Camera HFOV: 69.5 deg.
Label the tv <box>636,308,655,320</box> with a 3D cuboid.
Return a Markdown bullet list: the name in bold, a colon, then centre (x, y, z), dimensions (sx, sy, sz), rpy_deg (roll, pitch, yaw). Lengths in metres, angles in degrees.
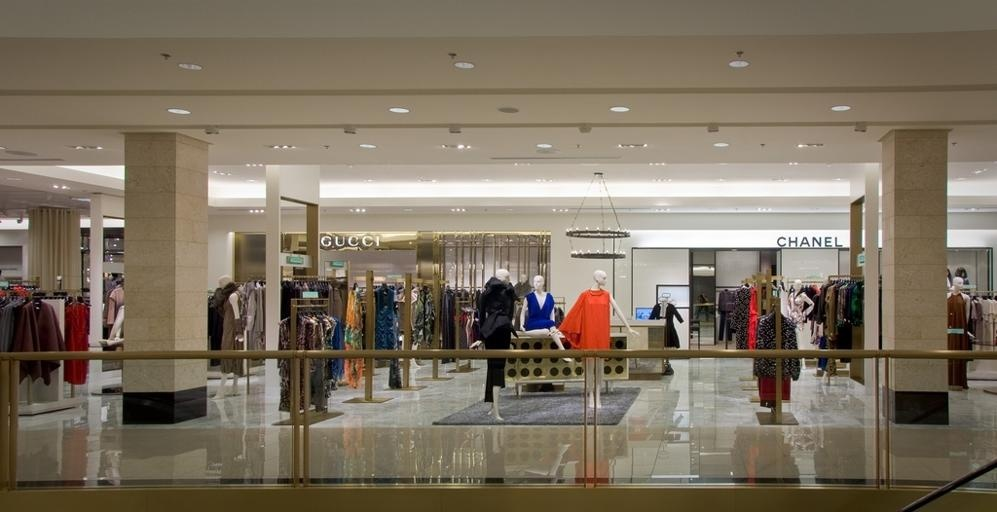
- **tv**: centre (4.369, 1.740, 21.477), dimensions (0.561, 0.308, 0.064), rpy_deg (0, -27, 4)

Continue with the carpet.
- **carpet**: centre (0.576, 1.910, 9.175), dimensions (2.427, 0.516, 0.099), rpy_deg (0, 13, -2)

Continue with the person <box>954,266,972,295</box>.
- **person**: centre (12.252, 0.662, 18.987), dimensions (0.631, 0.661, 0.345), rpy_deg (-6, 9, -43)

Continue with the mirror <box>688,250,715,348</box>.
- **mirror**: centre (6.331, 1.291, 22.419), dimensions (0.963, 3.010, 0.616), rpy_deg (3, 14, 9)
